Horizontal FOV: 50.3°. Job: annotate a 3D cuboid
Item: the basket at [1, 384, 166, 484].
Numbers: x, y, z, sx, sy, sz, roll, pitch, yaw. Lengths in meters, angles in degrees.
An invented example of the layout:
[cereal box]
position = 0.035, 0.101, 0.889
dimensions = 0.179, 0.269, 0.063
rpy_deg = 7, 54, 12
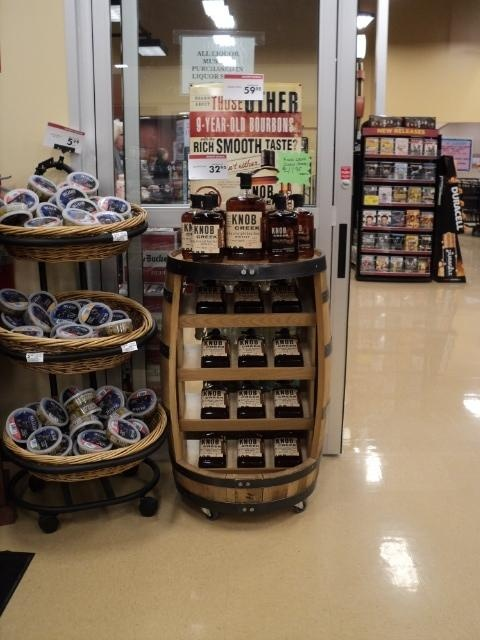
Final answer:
[basket]
position = -0.533, 0.442, 1.869
dimensions = 0.595, 0.238, 0.373
rpy_deg = -5, 11, -27

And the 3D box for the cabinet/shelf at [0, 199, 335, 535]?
[cabinet/shelf]
position = -0.254, 0.188, 1.919
dimensions = 1.193, 1.013, 0.623
rpy_deg = -2, 17, -8
